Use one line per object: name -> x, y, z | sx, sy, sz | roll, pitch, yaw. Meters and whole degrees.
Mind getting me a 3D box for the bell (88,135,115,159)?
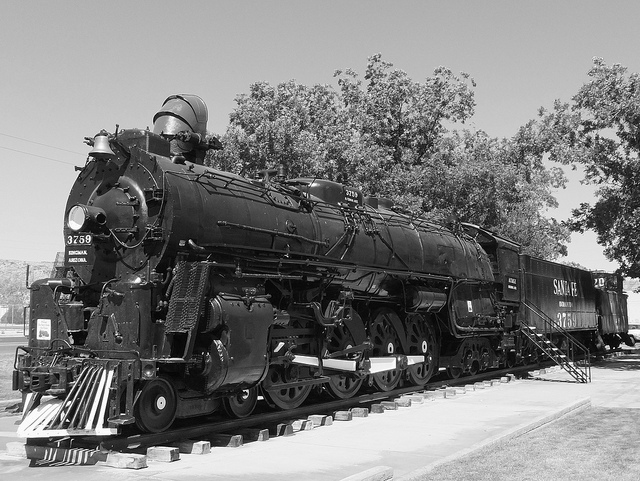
bell -> -3.628, -1.548, 9.150 | 0.389, 0.350, 0.339 | 6, -16, -24
